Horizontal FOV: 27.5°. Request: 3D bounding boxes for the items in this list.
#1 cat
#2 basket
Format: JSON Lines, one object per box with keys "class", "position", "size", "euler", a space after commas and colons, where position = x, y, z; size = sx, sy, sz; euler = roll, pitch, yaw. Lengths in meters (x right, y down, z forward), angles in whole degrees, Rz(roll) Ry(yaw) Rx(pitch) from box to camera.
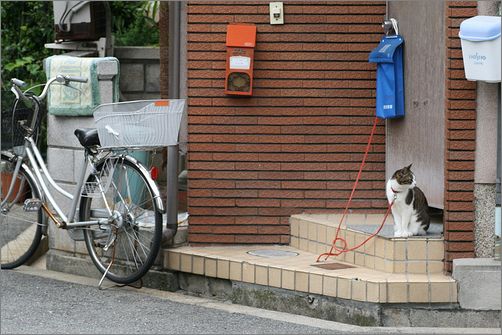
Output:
{"class": "cat", "position": [1.807, 0.355, 11.590], "size": [0.483, 0.808, 0.372], "euler": [2, 5, -5]}
{"class": "basket", "position": [-1.262, -0.491, 11.566], "size": [0.814, 0.334, 0.602], "euler": [-2, -6, 4]}
